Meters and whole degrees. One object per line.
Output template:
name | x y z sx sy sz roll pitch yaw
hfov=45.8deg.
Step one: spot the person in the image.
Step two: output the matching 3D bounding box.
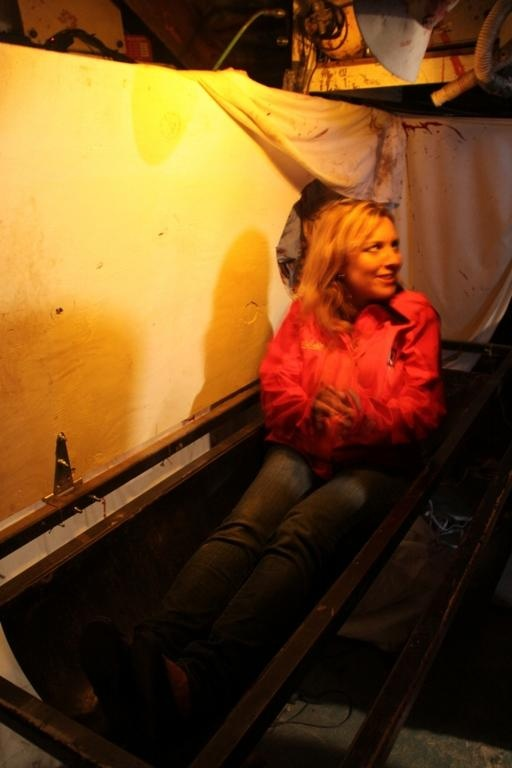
person | -0.071 0.060 1.416 0.511 0.747 1.211 19 45 34
